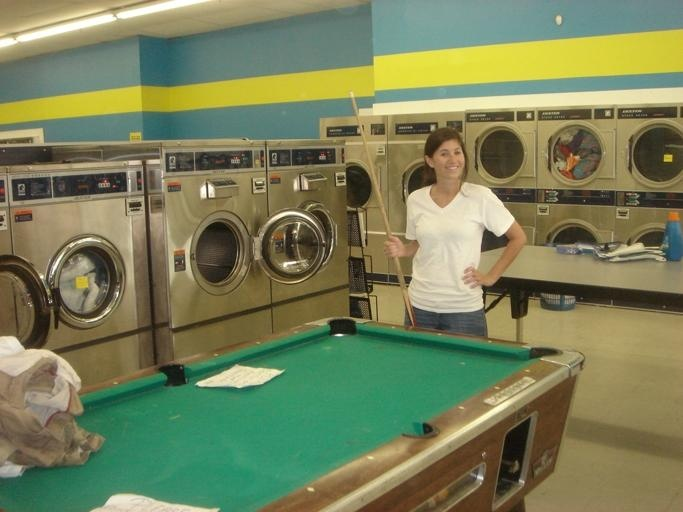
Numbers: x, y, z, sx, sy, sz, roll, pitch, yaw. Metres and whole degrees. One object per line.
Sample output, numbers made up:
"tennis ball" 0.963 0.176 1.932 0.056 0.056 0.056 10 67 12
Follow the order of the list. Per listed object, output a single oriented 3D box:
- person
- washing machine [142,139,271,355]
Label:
"person" 0.673 0.227 2.937 0.783 1.801 0.503 1 8 17
"washing machine" -1.277 -0.119 4.618 1.108 1.735 1.055 -9 11 -41
